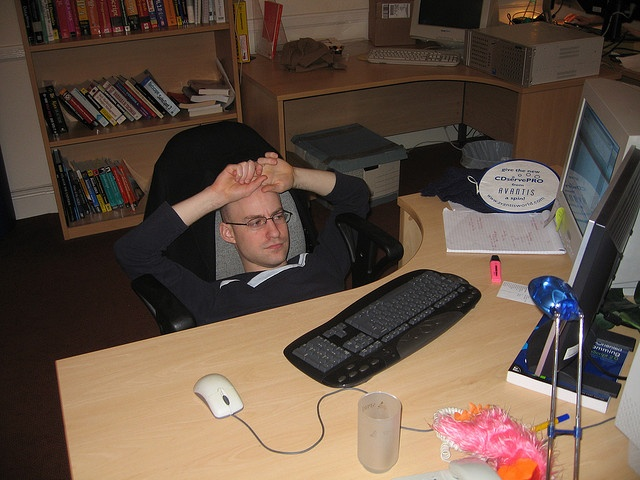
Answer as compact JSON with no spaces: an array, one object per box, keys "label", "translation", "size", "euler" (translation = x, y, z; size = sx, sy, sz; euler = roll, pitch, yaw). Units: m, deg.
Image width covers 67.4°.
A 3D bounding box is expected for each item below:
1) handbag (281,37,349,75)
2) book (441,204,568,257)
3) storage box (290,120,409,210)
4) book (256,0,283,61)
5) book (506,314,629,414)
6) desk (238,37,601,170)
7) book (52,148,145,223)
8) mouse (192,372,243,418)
[{"label":"handbag","translation":[-0.048,-1.302,3.366],"size":[0.380,0.149,0.300],"euler":[-5,43,-8]},{"label":"book","translation":[0.661,-0.021,1.761],"size":[0.258,0.039,0.228],"euler":[5,39,10]},{"label":"storage box","translation":[0.179,-0.520,3.471],"size":[0.805,0.382,0.835],"euler":[6,28,1]},{"label":"book","translation":[-0.368,-1.541,3.517],"size":[0.088,0.378,0.366],"euler":[-1,29,-19]},{"label":"book","translation":[0.647,0.327,1.239],"size":[0.197,0.037,0.252],"euler":[19,45,26]},{"label":"desk","translation":[0.590,-0.939,3.174],"size":[1.016,0.433,1.008],"euler":[-19,39,-27]},{"label":"book","translation":[-1.555,-0.405,3.355],"size":[0.522,0.173,0.501],"euler":[-8,64,-32]},{"label":"mouse","translation":[-0.269,0.389,1.232],"size":[0.091,0.052,0.153],"euler":[-13,32,-40]}]
